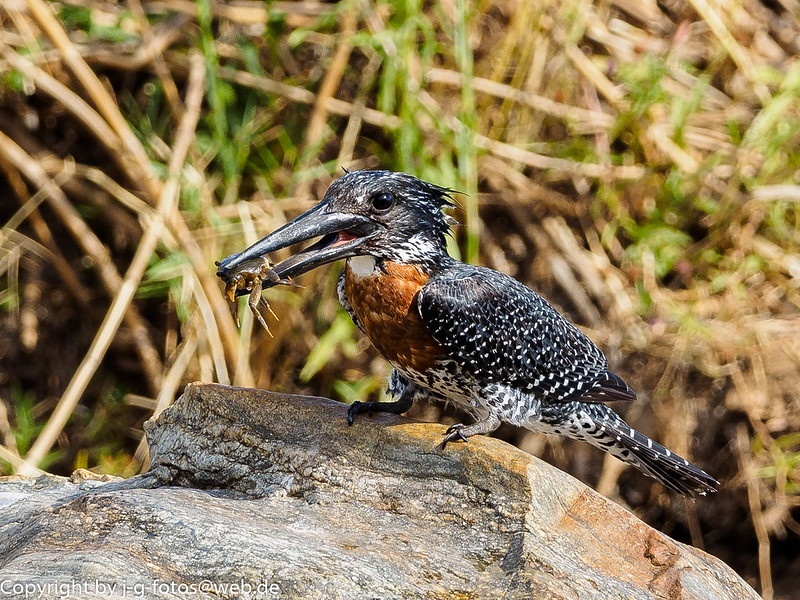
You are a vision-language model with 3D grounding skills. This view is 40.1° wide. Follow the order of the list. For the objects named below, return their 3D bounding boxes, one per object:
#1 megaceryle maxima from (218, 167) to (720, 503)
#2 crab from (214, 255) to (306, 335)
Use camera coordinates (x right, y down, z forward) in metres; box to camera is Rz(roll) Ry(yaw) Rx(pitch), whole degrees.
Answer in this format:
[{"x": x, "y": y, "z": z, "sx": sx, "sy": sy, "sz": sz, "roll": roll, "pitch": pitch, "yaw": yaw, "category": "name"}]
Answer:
[{"x": 0.456, "y": 0.093, "z": 6.553, "sx": 3.198, "sy": 1.615, "sz": 1.037, "roll": 2, "pitch": 6, "yaw": -29, "category": "megaceryle maxima"}, {"x": -0.799, "y": -0.105, "z": 6.007, "sx": 0.408, "sy": 0.189, "sz": 0.661, "roll": -6, "pitch": 7, "yaw": -15, "category": "crab"}]
